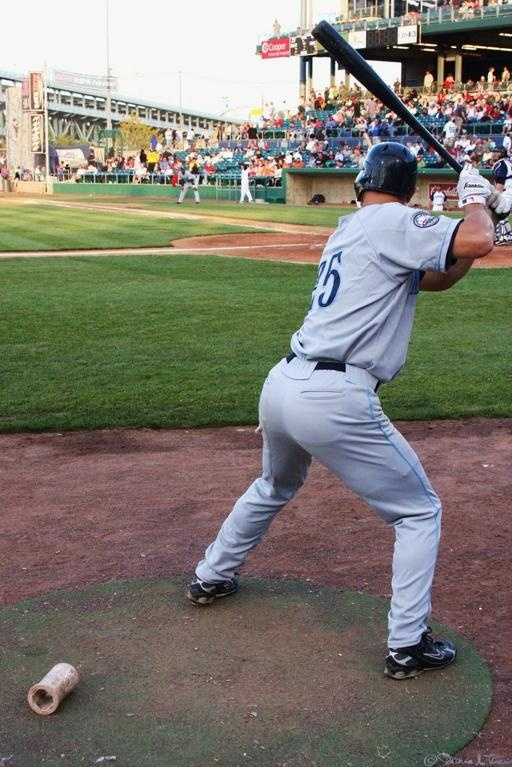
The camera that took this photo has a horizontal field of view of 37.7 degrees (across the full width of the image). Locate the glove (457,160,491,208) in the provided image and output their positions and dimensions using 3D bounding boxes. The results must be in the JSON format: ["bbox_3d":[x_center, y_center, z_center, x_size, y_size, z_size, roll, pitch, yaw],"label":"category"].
[{"bbox_3d":[0.719,-0.645,2.468,0.112,0.052,0.173,0,45,-4],"label":"glove"}]

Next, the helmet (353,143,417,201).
[{"bbox_3d":[0.409,-0.721,2.528,0.177,0.208,0.217,9,19,-6],"label":"helmet"}]

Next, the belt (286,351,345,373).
[{"bbox_3d":[0.209,-0.062,2.358,0.123,0.042,0.087,3,5,-14],"label":"belt"}]

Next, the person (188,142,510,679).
[{"bbox_3d":[0.325,0.143,2.545,0.527,1.467,0.827,-13,18,-41],"label":"person"}]

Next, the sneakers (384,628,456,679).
[{"bbox_3d":[0.539,0.832,2.396,0.274,0.165,0.086,-6,22,-25],"label":"sneakers"}]

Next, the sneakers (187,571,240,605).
[{"bbox_3d":[-0.166,0.763,2.891,0.207,0.093,0.077,-13,22,-36],"label":"sneakers"}]
